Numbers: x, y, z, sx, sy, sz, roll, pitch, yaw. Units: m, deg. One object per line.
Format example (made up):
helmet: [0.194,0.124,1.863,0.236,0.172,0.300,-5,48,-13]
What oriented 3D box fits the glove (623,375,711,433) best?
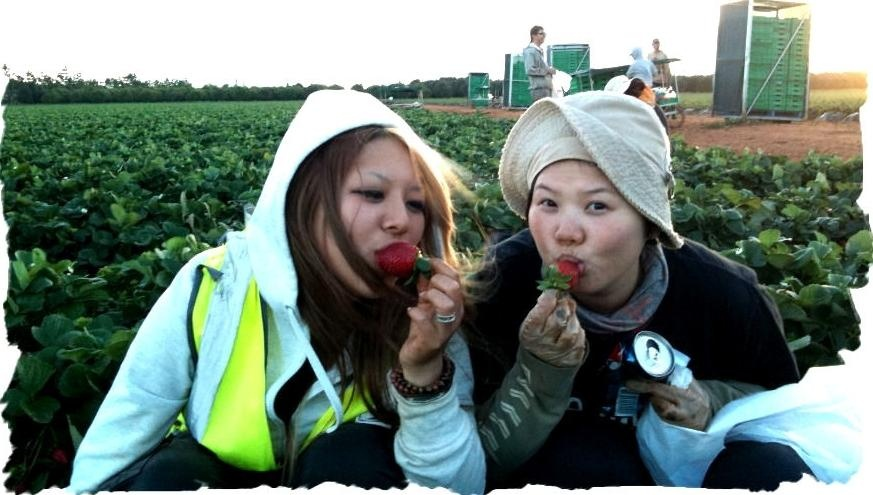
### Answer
glove: [1.494,0.984,3.410,0.567,0.342,0.150,-4,15,-8]

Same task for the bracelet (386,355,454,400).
bracelet: [-0.089,0.782,3.262,0.382,0.195,0.159,-3,15,-7]

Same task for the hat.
hat: [0.947,-0.482,3.396,1.129,0.951,0.453,3,16,19]

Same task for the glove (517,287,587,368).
glove: [0.694,0.465,3.208,0.405,0.491,0.174,-1,15,4]

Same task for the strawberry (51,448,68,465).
strawberry: [-2.470,1.367,3.542,0.115,0.048,0.091,40,4,16]

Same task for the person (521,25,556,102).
person: [2.084,-3.358,10.801,0.690,1.846,0.718,6,31,24]
